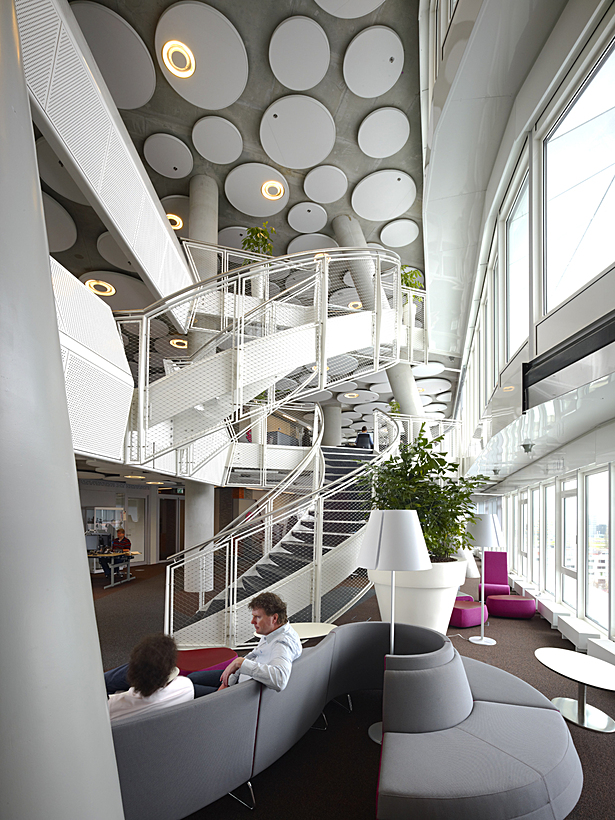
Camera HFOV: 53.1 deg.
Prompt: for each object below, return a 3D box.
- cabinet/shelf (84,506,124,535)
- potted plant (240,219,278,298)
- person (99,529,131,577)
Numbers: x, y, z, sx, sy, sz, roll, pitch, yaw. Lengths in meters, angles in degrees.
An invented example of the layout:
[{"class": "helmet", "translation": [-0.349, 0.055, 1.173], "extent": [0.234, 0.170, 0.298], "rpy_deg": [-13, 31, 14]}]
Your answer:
[{"class": "cabinet/shelf", "translation": [-4.750, 2.524, 14.244], "extent": [0.863, 0.500, 0.840], "rpy_deg": [0, -1, -4]}, {"class": "potted plant", "translation": [-0.686, -2.578, 9.946], "extent": [0.427, 0.997, 0.413], "rpy_deg": [-16, 23, -6]}, {"class": "person", "translation": [-3.961, 2.955, 12.722], "extent": [0.581, 0.970, 0.430], "rpy_deg": [1, 3, -27]}]
